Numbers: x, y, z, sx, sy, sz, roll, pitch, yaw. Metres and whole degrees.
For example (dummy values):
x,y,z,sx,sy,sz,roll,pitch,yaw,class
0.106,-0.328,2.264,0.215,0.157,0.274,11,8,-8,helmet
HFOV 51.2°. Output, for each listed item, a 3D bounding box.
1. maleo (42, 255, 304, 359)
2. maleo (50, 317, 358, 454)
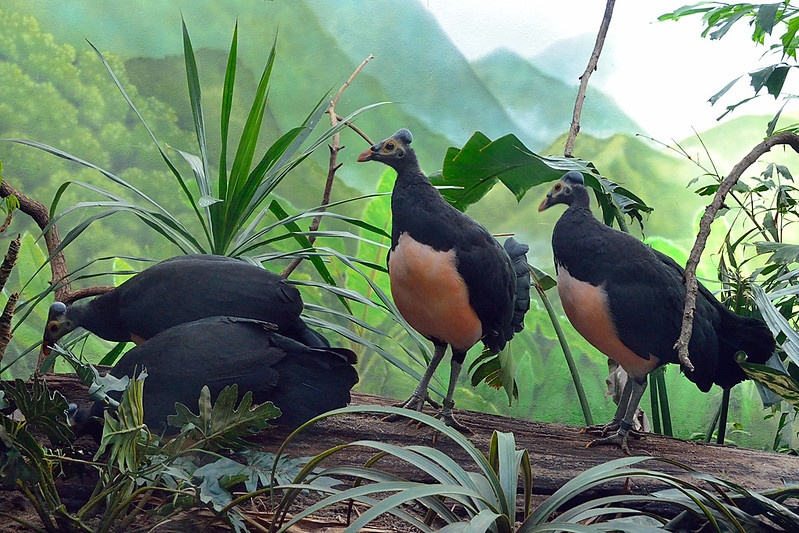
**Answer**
x,y,z,sx,sy,sz,roll,pitch,yaw,class
-0.965,0.134,4.129,1.436,0.472,0.465,-10,7,0,maleo
-0.900,0.416,3.974,1.535,0.729,0.562,-12,1,18,maleo
